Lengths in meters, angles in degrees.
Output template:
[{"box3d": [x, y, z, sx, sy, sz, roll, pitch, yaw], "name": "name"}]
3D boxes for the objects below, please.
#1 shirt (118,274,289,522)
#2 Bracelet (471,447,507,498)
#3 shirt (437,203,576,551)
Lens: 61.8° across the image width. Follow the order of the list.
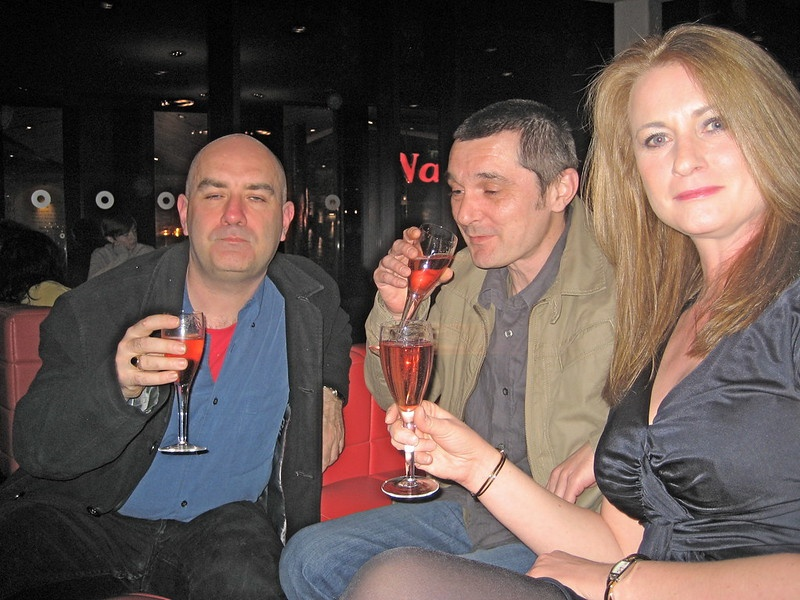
[{"box3d": [-0.785, 0.342, 2.849, 0.719, 0.990, 0.637, 8, 0, -41], "name": "shirt"}, {"box3d": [0.239, 0.522, 2.044, 0.040, 0.125, 0.130, 36, 41, 7], "name": "Bracelet"}, {"box3d": [0.395, 0.289, 2.430, 0.334, 0.980, 1.002, 17, -28, -19], "name": "shirt"}]
